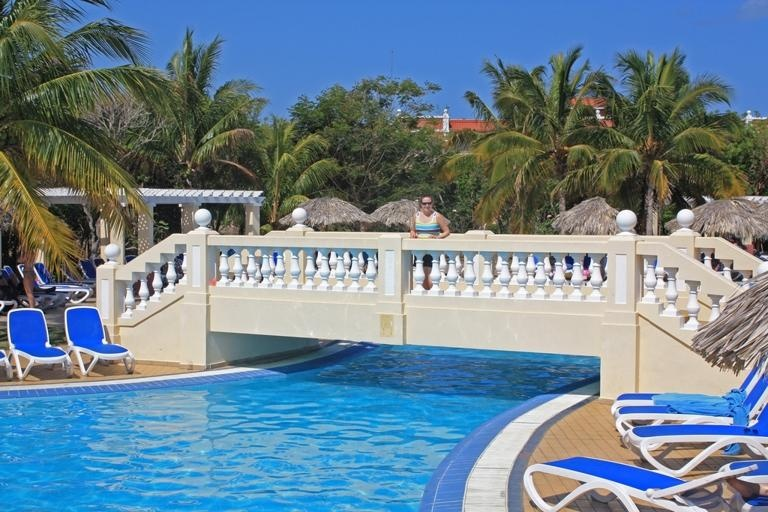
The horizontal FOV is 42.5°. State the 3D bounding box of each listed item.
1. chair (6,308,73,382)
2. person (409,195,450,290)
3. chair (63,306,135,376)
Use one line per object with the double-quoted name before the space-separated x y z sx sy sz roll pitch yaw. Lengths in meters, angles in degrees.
"chair" -7.448 1.786 20.656 1.159 1.430 1.512 -2 5 -43
"person" 0.917 -0.131 22.431 0.756 2.470 0.755 4 13 30
"chair" -6.281 1.778 21.094 1.054 1.355 1.660 -2 12 -44
